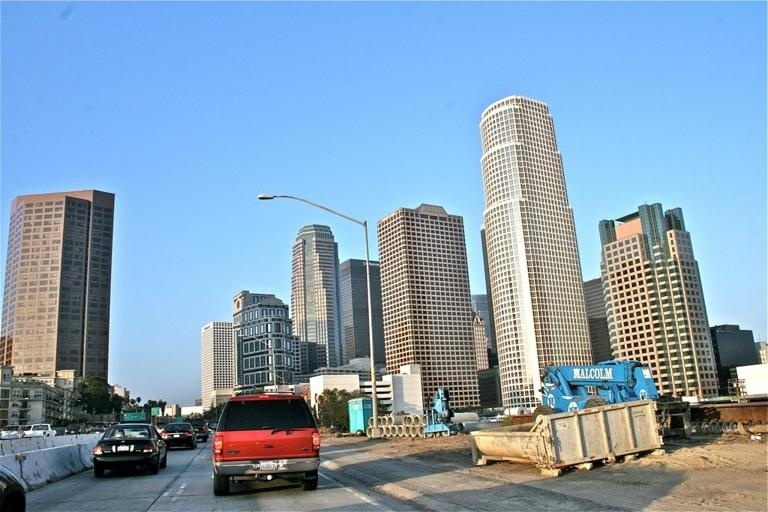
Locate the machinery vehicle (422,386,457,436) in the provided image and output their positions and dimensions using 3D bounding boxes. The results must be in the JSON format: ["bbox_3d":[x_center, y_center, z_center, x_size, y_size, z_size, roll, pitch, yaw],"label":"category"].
[{"bbox_3d":[3.913,10.771,43.365,2.948,2.827,2.652,-4,-11,-5],"label":"machinery vehicle"}]

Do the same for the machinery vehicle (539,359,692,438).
[{"bbox_3d":[11.395,7.344,33.227,7.770,3.107,2.205,0,-21,-8],"label":"machinery vehicle"}]

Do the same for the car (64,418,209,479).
[{"bbox_3d":[-10.251,7.837,25.932,2.244,2.080,2.763,-4,-15,-7],"label":"car"}]
